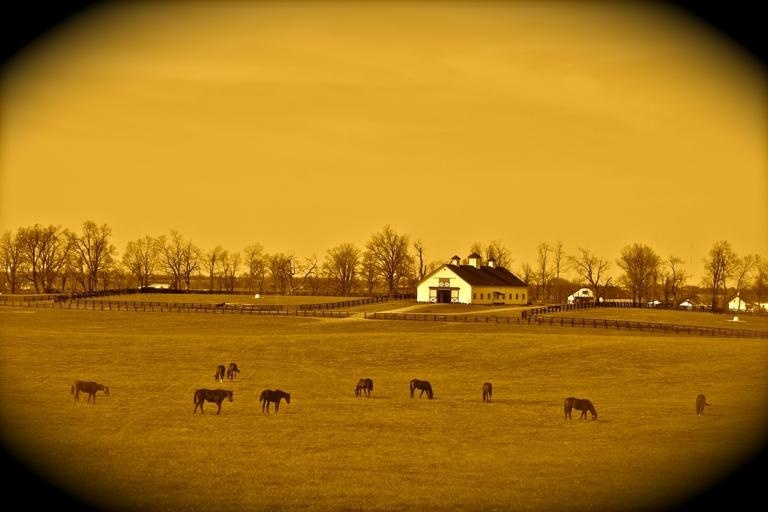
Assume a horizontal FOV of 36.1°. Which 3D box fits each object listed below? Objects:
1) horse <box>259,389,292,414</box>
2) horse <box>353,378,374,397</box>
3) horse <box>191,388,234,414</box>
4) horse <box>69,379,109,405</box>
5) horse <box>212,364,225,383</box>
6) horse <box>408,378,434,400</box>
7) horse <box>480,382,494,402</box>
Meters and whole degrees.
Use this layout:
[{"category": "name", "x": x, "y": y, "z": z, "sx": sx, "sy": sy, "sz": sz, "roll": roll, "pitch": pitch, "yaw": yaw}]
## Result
[{"category": "horse", "x": -7.065, "y": 9.038, "z": 74.915, "sx": 1.925, "sy": 1.317, "sz": 2.342, "roll": 0, "pitch": 10, "yaw": -5}, {"category": "horse", "x": -1.442, "y": 8.692, "z": 79.078, "sx": 1.280, "sy": 1.202, "sz": 1.784, "roll": 1, "pitch": 10, "yaw": -2}, {"category": "horse", "x": -11.005, "y": 8.998, "z": 74.671, "sx": 2.278, "sy": 1.495, "sz": 2.719, "roll": 2, "pitch": 10, "yaw": 5}, {"category": "horse", "x": -19.309, "y": 8.672, "z": 76.633, "sx": 2.188, "sy": 1.354, "sz": 2.786, "roll": -3, "pitch": 11, "yaw": -19}, {"category": "horse", "x": -11.641, "y": 8.086, "z": 82.722, "sx": 0.795, "sy": 1.234, "sz": 1.925, "roll": -1, "pitch": 10, "yaw": -8}, {"category": "horse", "x": 2.480, "y": 8.795, "z": 79.313, "sx": 1.618, "sy": 1.278, "sz": 2.339, "roll": 1, "pitch": 10, "yaw": 1}, {"category": "horse", "x": 6.891, "y": 8.944, "z": 78.725, "sx": 0.725, "sy": 1.241, "sz": 2.501, "roll": 2, "pitch": 10, "yaw": 5}]
